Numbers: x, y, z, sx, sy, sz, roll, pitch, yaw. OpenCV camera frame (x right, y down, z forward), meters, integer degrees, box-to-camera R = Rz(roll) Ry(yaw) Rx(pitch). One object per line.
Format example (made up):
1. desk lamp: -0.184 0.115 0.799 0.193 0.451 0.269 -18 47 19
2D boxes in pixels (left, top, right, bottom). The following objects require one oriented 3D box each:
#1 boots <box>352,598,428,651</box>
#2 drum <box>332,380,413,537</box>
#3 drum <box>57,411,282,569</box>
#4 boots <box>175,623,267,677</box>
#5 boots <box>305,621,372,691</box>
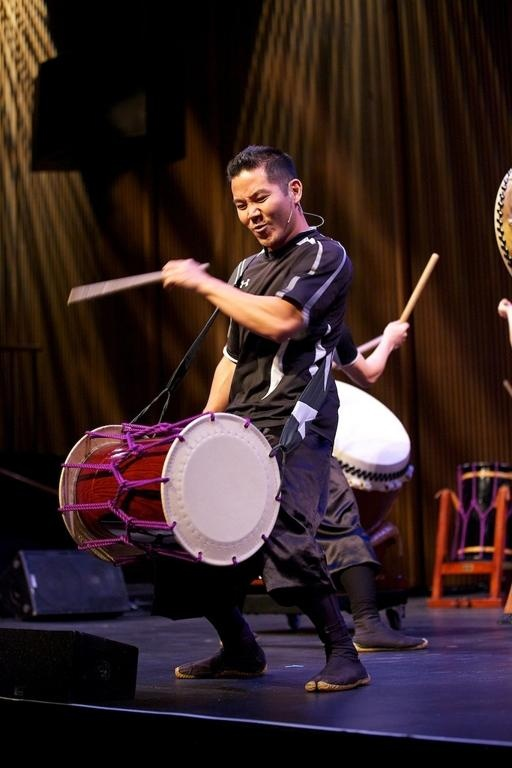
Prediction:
1. boots: 0.382 0.663 2.845 0.246 0.123 0.091 -2 -5 -4
2. drum: 0.371 0.349 3.548 0.262 0.262 0.261 6 18 -11
3. drum: -0.218 0.217 2.110 0.410 0.359 0.352 -2 12 42
4. boots: -0.065 0.631 2.456 0.243 0.149 0.089 -1 -9 0
5. boots: 0.159 0.558 2.145 0.085 0.189 0.143 -21 71 32
